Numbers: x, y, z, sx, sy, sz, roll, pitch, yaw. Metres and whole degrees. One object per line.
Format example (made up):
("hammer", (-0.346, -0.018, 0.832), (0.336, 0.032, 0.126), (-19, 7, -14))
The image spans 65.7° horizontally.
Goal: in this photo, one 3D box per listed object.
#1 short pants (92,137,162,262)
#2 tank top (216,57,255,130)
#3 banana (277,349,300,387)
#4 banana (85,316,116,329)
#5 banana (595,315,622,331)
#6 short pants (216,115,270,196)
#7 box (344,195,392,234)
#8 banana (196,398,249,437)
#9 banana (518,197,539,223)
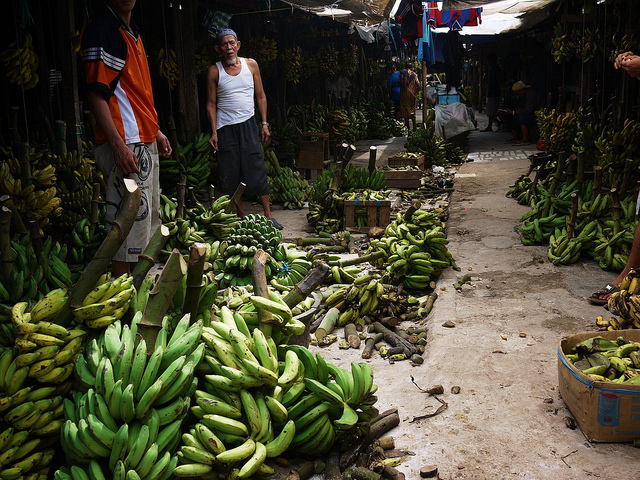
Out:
("short pants", (-1.448, -0.316, 3.892), (0.481, 0.938, 0.494), (-10, 15, -26))
("tank top", (-1.054, -1.780, 6.079), (0.526, 0.942, 0.485), (-10, 21, -21))
("banana", (-0.143, 0.633, 2.434), (0.104, 0.069, 0.242), (-7, 24, 15))
("banana", (-1.042, 0.388, 2.355), (0.134, 0.067, 0.050), (-2, 14, 9))
("banana", (2.147, 0.621, 3.678), (0.042, 0.112, 0.119), (14, -8, 8))
("short pants", (-1.012, -0.972, 6.337), (0.546, 1.102, 0.404), (-10, -23, 1))
("box", (0.614, -0.318, 6.432), (0.419, 0.318, 0.470), (0, 10, 1))
("banana", (-0.443, 0.846, 2.308), (0.067, 0.241, 0.151), (-36, 21, 43))
("banana", (2.663, -0.357, 6.326), (0.128, 0.245, 0.481), (-2, -9, 13))
